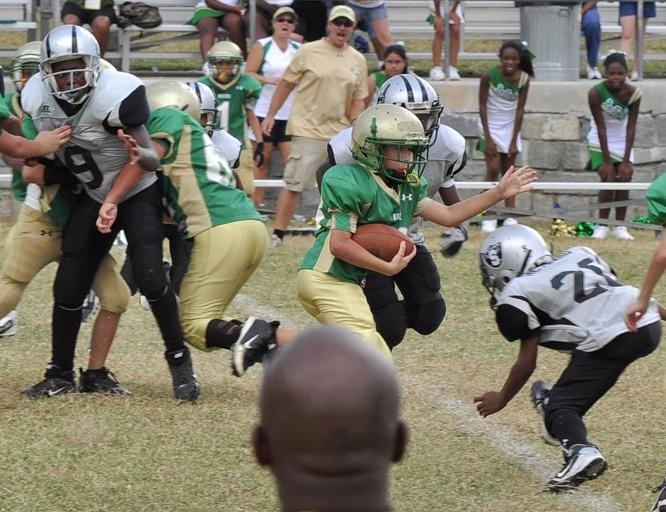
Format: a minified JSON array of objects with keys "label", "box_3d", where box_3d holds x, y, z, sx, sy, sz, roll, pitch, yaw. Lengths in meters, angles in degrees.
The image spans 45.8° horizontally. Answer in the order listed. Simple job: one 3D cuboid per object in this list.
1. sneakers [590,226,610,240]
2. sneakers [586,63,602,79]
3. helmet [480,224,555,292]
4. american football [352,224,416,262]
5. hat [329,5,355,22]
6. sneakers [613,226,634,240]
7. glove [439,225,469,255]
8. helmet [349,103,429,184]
[{"label":"sneakers","box_3d":[2.775,-0.246,8.269,0.116,0.070,0.196,35,24,0]},{"label":"sneakers","box_3d":[3.262,-2.329,9.940,0.175,0.105,0.283,0,34,1]},{"label":"helmet","box_3d":[0.955,0.019,4.021,0.339,0.278,0.402,-2,0,-32]},{"label":"american football","box_3d":[0.238,-0.083,3.783,0.269,0.137,0.159,1,33,41]},{"label":"hat","box_3d":[0.078,-2.300,7.412,0.218,0.109,0.242,5,6,-1]},{"label":"sneakers","box_3d":[2.999,-0.243,8.226,0.143,0.076,0.184,-23,46,-34]},{"label":"glove","box_3d":[0.709,-0.091,4.696,0.118,0.213,0.102,43,9,16]},{"label":"helmet","box_3d":[0.266,-0.562,3.852,0.431,0.266,0.316,20,22,40]}]
